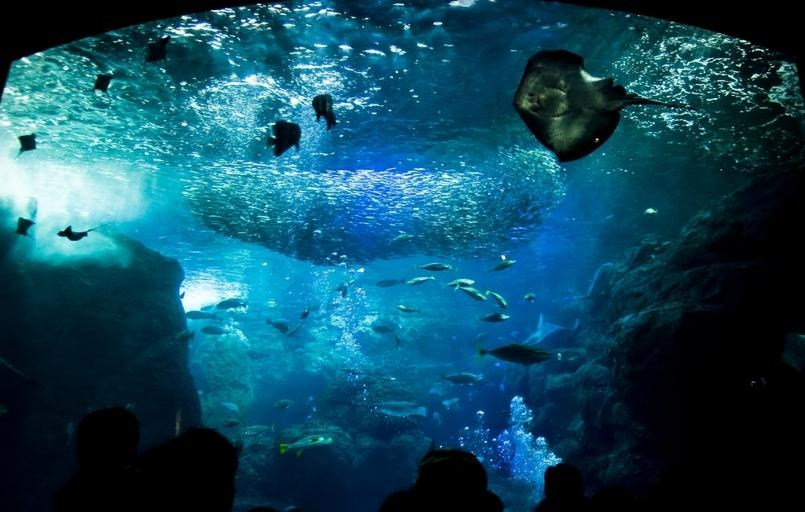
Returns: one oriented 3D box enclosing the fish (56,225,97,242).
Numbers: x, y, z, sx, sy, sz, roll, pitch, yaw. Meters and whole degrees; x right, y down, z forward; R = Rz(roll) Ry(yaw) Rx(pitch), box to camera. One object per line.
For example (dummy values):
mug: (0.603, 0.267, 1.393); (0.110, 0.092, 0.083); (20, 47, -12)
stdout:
fish: (-12.208, -0.808, 23.767); (1.069, 0.405, 1.473); (-13, -16, 24)
